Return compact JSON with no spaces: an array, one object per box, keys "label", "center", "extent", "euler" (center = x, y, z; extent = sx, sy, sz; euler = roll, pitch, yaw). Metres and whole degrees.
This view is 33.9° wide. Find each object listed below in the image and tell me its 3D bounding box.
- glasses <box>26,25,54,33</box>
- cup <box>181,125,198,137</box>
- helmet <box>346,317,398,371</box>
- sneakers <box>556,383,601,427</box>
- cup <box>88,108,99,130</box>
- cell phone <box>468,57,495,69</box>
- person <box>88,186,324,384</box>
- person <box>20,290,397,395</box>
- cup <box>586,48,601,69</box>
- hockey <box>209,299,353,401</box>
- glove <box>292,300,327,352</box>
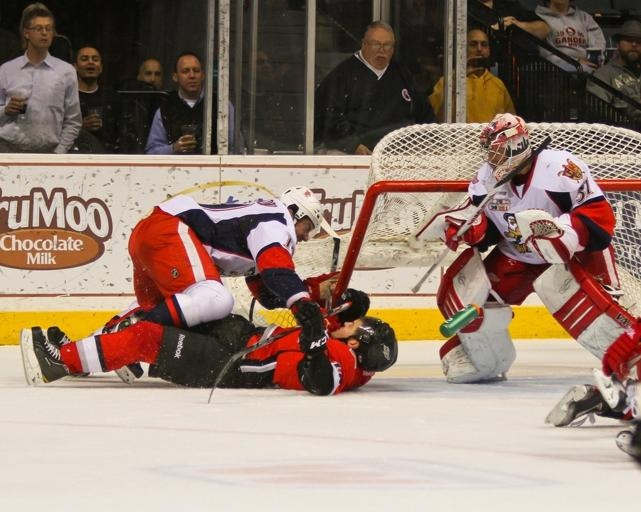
[{"label":"glasses","center":[-1.724,-1.426,6.621],"extent":[0.085,0.048,0.186],"euler":[6,9,32]},{"label":"cup","center":[-0.813,-0.786,6.642],"extent":[0.062,0.079,0.090],"euler":[-1,-4,38]},{"label":"helmet","center":[0.246,0.419,4.949],"extent":[0.247,0.230,0.191],"euler":[6,-7,4]},{"label":"sneakers","center":[0.978,0.574,4.047],"extent":[0.200,0.106,0.077],"euler":[-31,-12,14]},{"label":"cup","center":[-1.425,-0.858,6.658],"extent":[0.100,0.122,0.048],"euler":[0,8,-8]},{"label":"cell phone","center":[1.032,-1.248,6.817],"extent":[0.096,0.042,0.117],"euler":[1,-4,2]},{"label":"person","center":[-0.494,0.104,5.021],"extent":[1.261,0.730,0.687],"euler":[-6,20,-14]},{"label":"person","center":[-0.440,0.424,4.815],"extent":[1.141,0.347,0.629],"euler":[0,3,-8]},{"label":"cup","center":[1.873,-1.353,7.214],"extent":[0.158,0.127,0.096],"euler":[0,-13,-4]},{"label":"hockey","center":[-0.261,0.427,4.836],"extent":[0.269,0.357,0.929],"euler":[8,10,41]},{"label":"glove","center":[-0.050,0.307,4.605],"extent":[0.167,0.199,0.068],"euler":[-18,-11,30]}]
